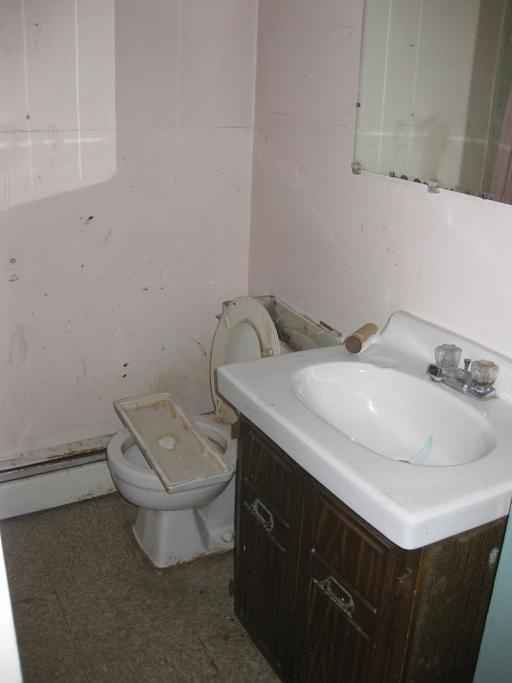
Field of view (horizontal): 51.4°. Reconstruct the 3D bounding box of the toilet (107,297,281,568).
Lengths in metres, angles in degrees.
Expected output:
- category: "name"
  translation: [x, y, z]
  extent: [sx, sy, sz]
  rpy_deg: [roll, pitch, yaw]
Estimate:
- category: "toilet"
  translation: [-0.247, 0.304, 1.757]
  extent: [0.422, 0.891, 0.449]
  rpy_deg: [-9, 31, -30]
